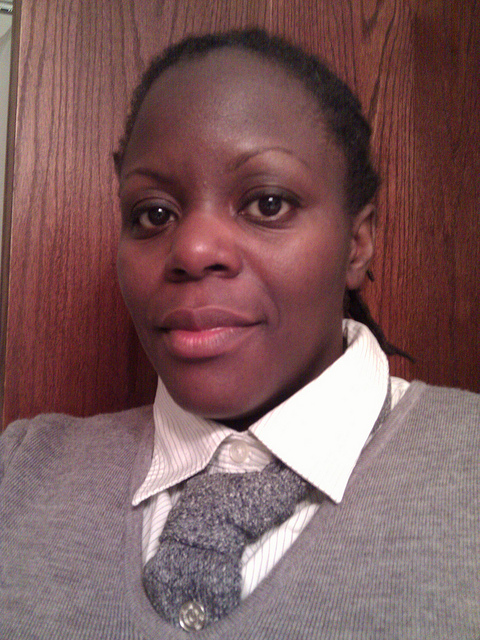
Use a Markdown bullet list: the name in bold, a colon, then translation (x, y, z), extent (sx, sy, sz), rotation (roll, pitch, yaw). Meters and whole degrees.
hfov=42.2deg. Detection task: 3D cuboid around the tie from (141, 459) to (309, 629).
- **tie**: translation (-0.013, 0.234, 0.657), extent (0.157, 0.112, 0.135), rotation (6, 19, 7)
